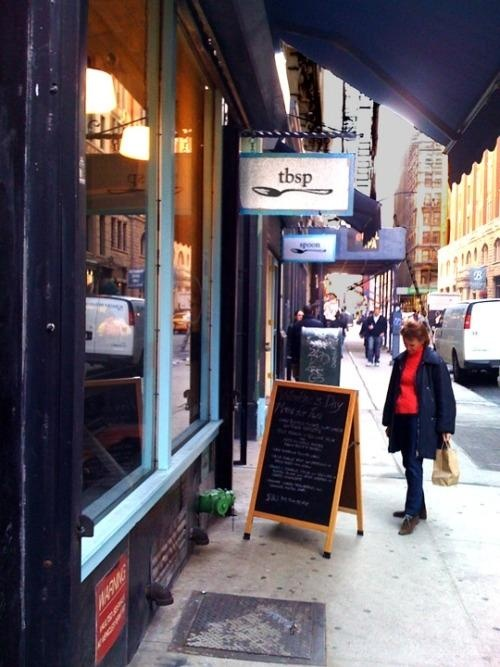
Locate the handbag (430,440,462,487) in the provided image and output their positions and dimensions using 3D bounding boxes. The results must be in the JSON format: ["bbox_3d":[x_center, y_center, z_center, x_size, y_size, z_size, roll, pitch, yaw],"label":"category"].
[{"bbox_3d":[1.421,0.957,4.570,0.180,0.346,0.177,2,3,18],"label":"handbag"}]

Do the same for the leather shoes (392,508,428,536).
[{"bbox_3d":[1.211,1.435,4.816,0.123,0.193,0.398,-5,-3,40],"label":"leather shoes"}]

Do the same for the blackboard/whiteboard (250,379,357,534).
[{"bbox_3d":[0.358,0.842,4.422,0.683,0.928,0.377,2,3,31],"label":"blackboard/whiteboard"}]

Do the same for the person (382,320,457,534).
[{"bbox_3d":[1.242,0.694,4.719,0.562,1.573,0.412,2,3,28],"label":"person"}]
